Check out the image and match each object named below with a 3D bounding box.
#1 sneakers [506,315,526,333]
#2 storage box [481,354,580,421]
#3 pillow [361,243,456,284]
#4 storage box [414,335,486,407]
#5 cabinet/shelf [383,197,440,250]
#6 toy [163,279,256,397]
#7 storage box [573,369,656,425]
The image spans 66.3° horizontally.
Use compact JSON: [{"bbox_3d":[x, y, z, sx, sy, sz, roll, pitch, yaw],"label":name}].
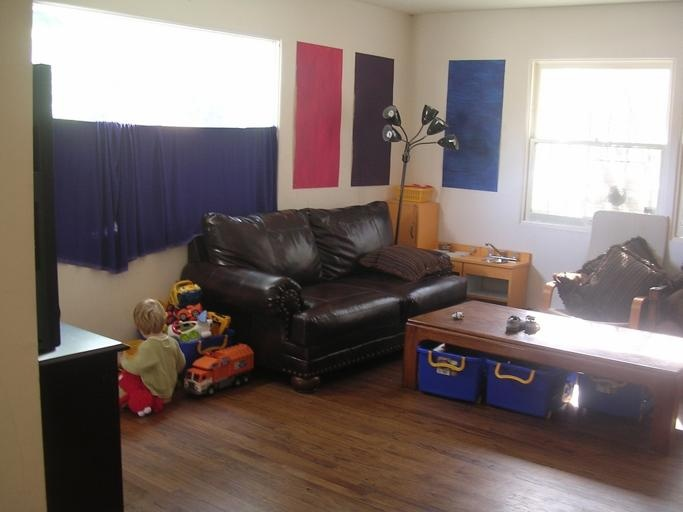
[{"bbox_3d":[1.207,0.475,3.633,0.092,0.115,0.126,-2,-9,39],"label":"sneakers"},{"bbox_3d":[1.272,0.868,3.564,0.453,0.269,0.345,3,1,27],"label":"storage box"},{"bbox_3d":[0.672,0.044,4.886,0.459,0.150,0.469,-12,17,-39],"label":"pillow"},{"bbox_3d":[0.762,0.802,3.664,0.446,0.324,0.327,2,3,28],"label":"storage box"},{"bbox_3d":[0.867,-0.387,6.225,0.647,0.547,0.698,5,3,-32],"label":"cabinet/shelf"},{"bbox_3d":[-0.995,0.579,3.817,0.532,0.350,0.774,-12,27,-44],"label":"toy"},{"bbox_3d":[1.803,0.914,3.453,0.423,0.253,0.302,8,0,21],"label":"storage box"}]
